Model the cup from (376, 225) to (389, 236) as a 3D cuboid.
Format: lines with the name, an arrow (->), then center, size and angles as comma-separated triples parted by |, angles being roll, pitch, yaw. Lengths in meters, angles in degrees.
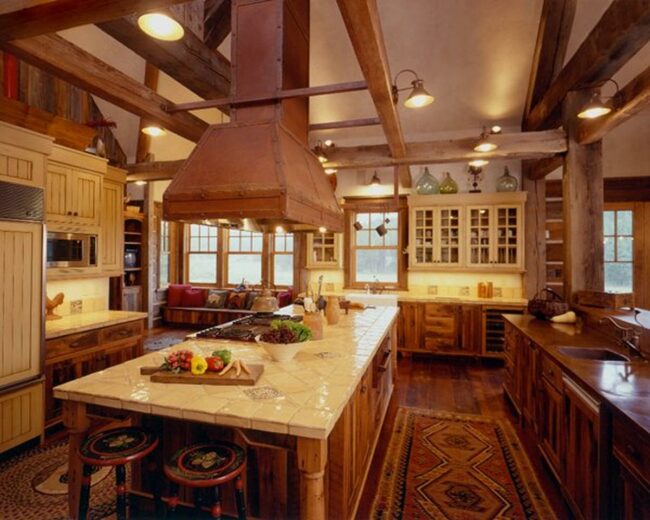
cup -> 0.847, -0.448, 7.122 | 0.169, 0.168, 0.181 | -3, 4, 0

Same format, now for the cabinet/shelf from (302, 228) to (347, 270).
cabinet/shelf -> -0.035, -0.176, 7.396 | 0.751, 0.864, 0.303 | 0, -2, 13

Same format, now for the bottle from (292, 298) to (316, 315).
bottle -> -0.206, 0.446, 4.575 | 0.242, 0.053, 0.229 | -3, 15, 1

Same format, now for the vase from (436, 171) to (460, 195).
vase -> 1.789, -1.136, 7.247 | 0.362, 0.434, 0.359 | 1, -2, -4

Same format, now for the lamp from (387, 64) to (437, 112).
lamp -> 0.842, -1.696, 4.648 | 0.363, 0.371, 0.251 | -6, -10, 13

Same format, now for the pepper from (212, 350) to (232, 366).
pepper -> -0.718, 0.659, 3.289 | 0.110, 0.098, 0.106 | -2, 1, -30

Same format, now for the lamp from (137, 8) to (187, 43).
lamp -> -1.171, -1.670, 3.398 | 0.280, 0.133, 0.241 | -10, 16, -42

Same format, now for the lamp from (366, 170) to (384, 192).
lamp -> 0.796, -1.272, 7.692 | 0.314, 0.471, 0.295 | 0, -4, 4

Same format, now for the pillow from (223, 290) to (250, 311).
pillow -> -1.612, 0.740, 8.713 | 0.358, 0.261, 0.122 | 0, -38, 10

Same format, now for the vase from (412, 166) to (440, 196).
vase -> 1.522, -1.173, 7.198 | 0.463, 0.554, 0.425 | 0, 3, 17

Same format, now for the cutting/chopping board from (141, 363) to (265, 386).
cutting/chopping board -> -0.765, 0.768, 3.148 | 0.483, 0.031, 0.267 | 2, -1, 6

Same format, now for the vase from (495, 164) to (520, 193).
vase -> 2.719, -1.175, 7.041 | 0.436, 0.526, 0.415 | 0, 2, 21

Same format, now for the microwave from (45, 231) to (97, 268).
microwave -> -2.738, -0.115, 5.001 | 0.351, 0.380, 0.591 | 2, 4, 18

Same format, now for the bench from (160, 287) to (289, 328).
bench -> -1.909, 0.886, 8.776 | 2.202, 0.774, 0.545 | 1, 3, 22

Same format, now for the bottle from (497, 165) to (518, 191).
bottle -> 2.662, -1.189, 6.965 | 0.296, 0.362, 0.493 | 5, 13, 21

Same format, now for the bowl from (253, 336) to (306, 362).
bowl -> -0.333, 0.645, 3.506 | 0.337, 0.172, 0.183 | -2, 12, -11

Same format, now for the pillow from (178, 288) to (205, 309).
pillow -> -2.464, 0.738, 9.090 | 0.608, 0.540, 0.305 | 3, -20, -15

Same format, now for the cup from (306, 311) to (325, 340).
cup -> -0.098, 0.550, 4.018 | 0.203, 0.243, 0.224 | 0, -4, -4

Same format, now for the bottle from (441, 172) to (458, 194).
bottle -> 1.854, -1.161, 7.165 | 0.244, 0.305, 0.305 | 4, 12, 15

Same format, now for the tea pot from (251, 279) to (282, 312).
tea pot -> -0.557, 0.379, 4.380 | 0.186, 0.283, 0.253 | 3, 12, 9

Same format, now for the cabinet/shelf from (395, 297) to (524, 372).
cabinet/shelf -> 1.888, 0.990, 6.909 | 1.642, 0.678, 0.492 | 0, 0, 18
